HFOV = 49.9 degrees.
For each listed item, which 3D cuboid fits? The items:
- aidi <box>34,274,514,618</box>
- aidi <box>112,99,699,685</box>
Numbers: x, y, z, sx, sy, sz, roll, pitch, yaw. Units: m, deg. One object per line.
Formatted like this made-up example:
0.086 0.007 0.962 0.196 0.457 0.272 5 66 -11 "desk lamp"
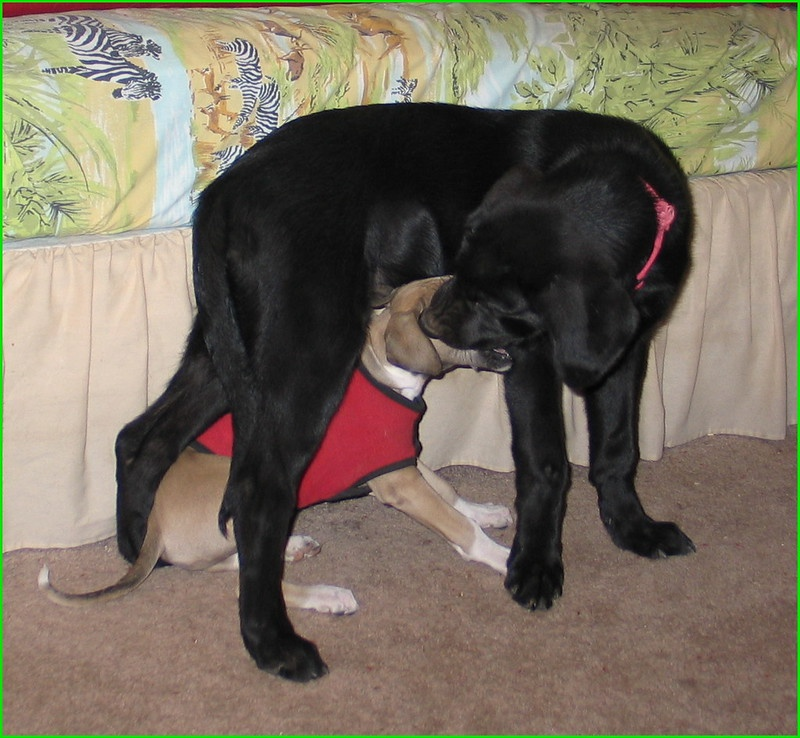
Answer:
-0.239 0.176 1.904 1.019 0.669 0.384 -4 -8 -13 "aidi"
-0.026 -0.127 2.009 0.761 1.074 1.364 3 9 34 "aidi"
